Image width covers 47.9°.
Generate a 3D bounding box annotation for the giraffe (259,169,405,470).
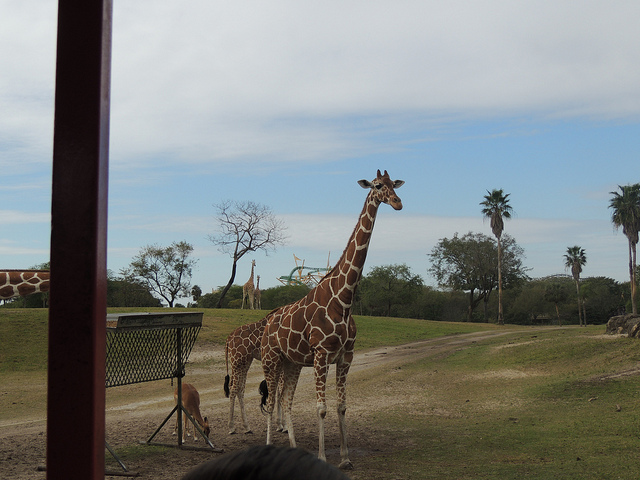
[{"bbox_3d":[0.060,1.521,14.580,2.793,5.710,1.267,-3,-4,30],"label":"giraffe"}]
